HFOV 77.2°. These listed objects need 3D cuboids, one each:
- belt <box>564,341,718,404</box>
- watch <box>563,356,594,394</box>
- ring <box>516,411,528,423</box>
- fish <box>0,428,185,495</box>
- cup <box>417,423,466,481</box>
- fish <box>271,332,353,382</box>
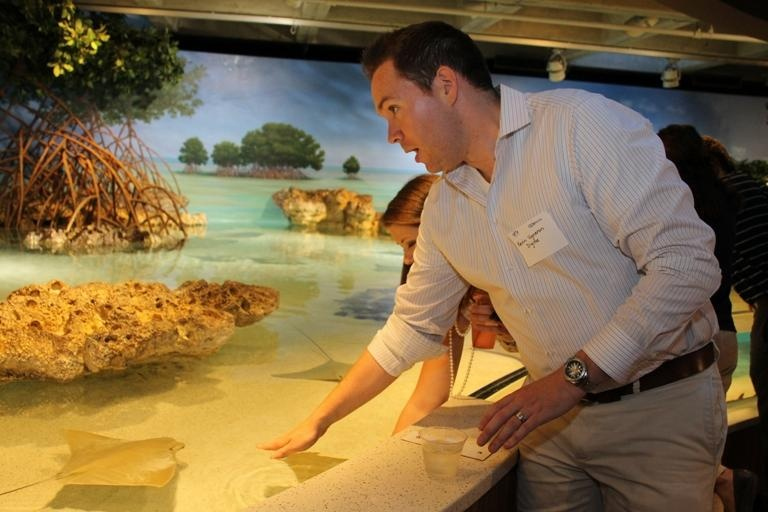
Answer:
[{"bbox_3d":[0.781,0.335,1.419,0.281,0.068,0.244,-20,2,3],"label":"belt"},{"bbox_3d":[0.516,0.318,1.291,0.058,0.093,0.045,-7,9,-19],"label":"watch"},{"bbox_3d":[0.366,0.429,1.280,0.022,0.029,0.029,-38,56,-8],"label":"ring"},{"bbox_3d":[-1.633,1.232,2.870,0.846,0.236,0.470,-4,7,1],"label":"fish"},{"bbox_3d":[0.162,0.555,1.365,0.126,0.093,0.129,2,-4,0],"label":"cup"},{"bbox_3d":[-0.704,0.962,4.535,0.559,0.028,0.596,23,21,33],"label":"fish"}]
